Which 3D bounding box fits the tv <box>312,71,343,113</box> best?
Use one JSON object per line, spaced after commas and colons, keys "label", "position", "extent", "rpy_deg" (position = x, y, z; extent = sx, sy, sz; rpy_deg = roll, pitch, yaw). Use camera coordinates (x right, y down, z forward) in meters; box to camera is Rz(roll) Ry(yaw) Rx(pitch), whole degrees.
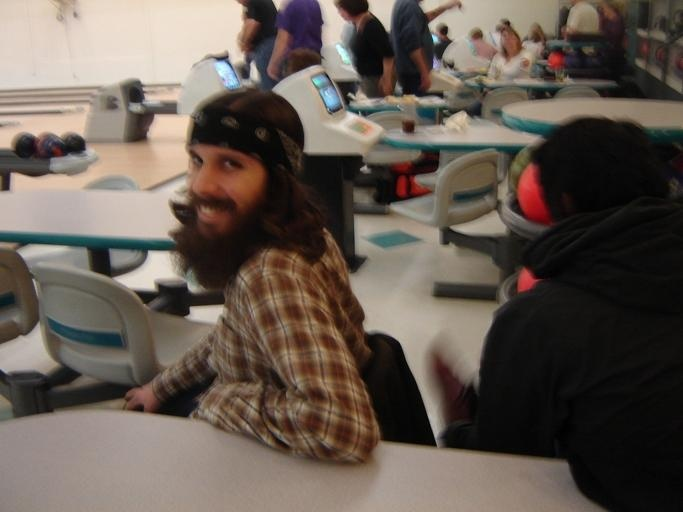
{"label": "tv", "position": [-0.071, -0.823, 2.624], "extent": [0.054, 0.196, 0.209], "rpy_deg": [-14, 30, 23]}
